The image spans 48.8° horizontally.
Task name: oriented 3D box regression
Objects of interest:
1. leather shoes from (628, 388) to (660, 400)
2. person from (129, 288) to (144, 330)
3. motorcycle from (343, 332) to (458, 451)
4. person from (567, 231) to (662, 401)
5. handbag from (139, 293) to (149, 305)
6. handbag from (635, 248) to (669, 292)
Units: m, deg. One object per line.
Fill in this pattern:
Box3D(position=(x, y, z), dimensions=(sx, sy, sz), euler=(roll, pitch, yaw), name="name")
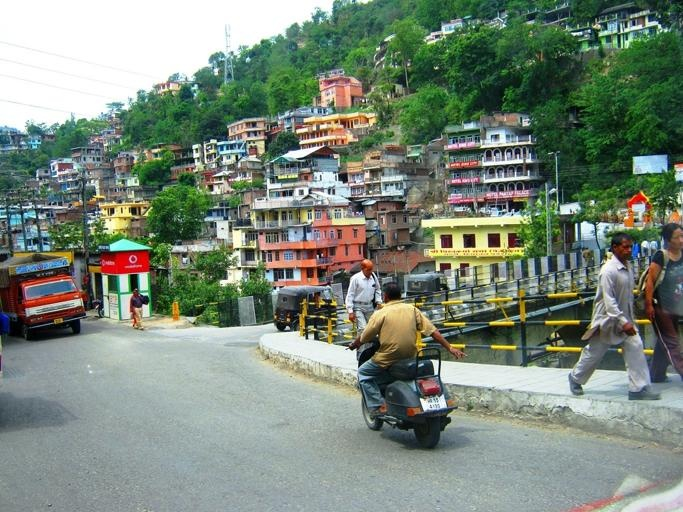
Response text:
Box3D(position=(4.931, 2.248, 12.359), dimensions=(0.543, 0.244, 0.189), euler=(-2, 0, -2), name="leather shoes")
Box3D(position=(-8.090, 2.073, 29.714), dimensions=(0.450, 1.602, 1.531), euler=(-5, 7, -16), name="person")
Box3D(position=(0.979, 2.298, 13.174), dimensions=(0.976, 1.686, 2.823), euler=(-5, 1, -24), name="motorcycle")
Box3D(position=(4.517, 1.007, 12.415), dimensions=(0.615, 2.755, 1.272), euler=(-9, 10, -41), name="person")
Box3D(position=(-8.170, 1.785, 31.131), dimensions=(0.322, 0.509, 0.505), euler=(-2, 0, -37), name="handbag")
Box3D(position=(5.305, 0.283, 12.826), dimensions=(0.397, 0.730, 0.451), euler=(17, 27, 39), name="handbag")
